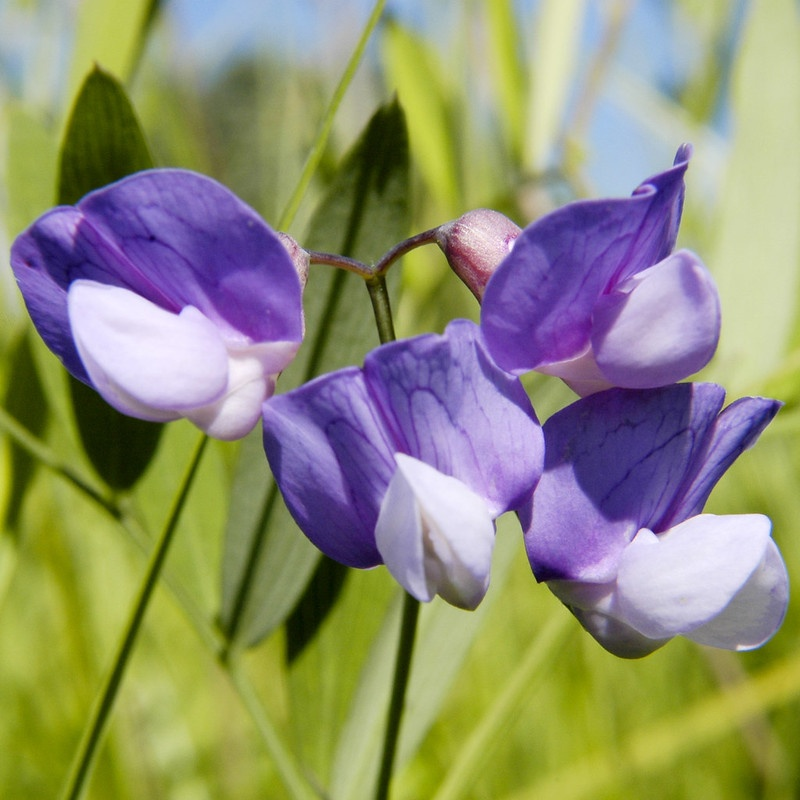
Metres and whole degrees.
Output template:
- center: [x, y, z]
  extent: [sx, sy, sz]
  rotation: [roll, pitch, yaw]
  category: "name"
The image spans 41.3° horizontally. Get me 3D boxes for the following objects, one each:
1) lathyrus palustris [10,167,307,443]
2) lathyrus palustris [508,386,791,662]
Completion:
- center: [-0.146, -0.044, 0.671]
  extent: [0.160, 0.083, 0.200]
  rotation: [-19, -43, 32]
  category: "lathyrus palustris"
- center: [0.164, 0.091, 0.701]
  extent: [0.156, 0.167, 0.190]
  rotation: [11, -19, -8]
  category: "lathyrus palustris"
